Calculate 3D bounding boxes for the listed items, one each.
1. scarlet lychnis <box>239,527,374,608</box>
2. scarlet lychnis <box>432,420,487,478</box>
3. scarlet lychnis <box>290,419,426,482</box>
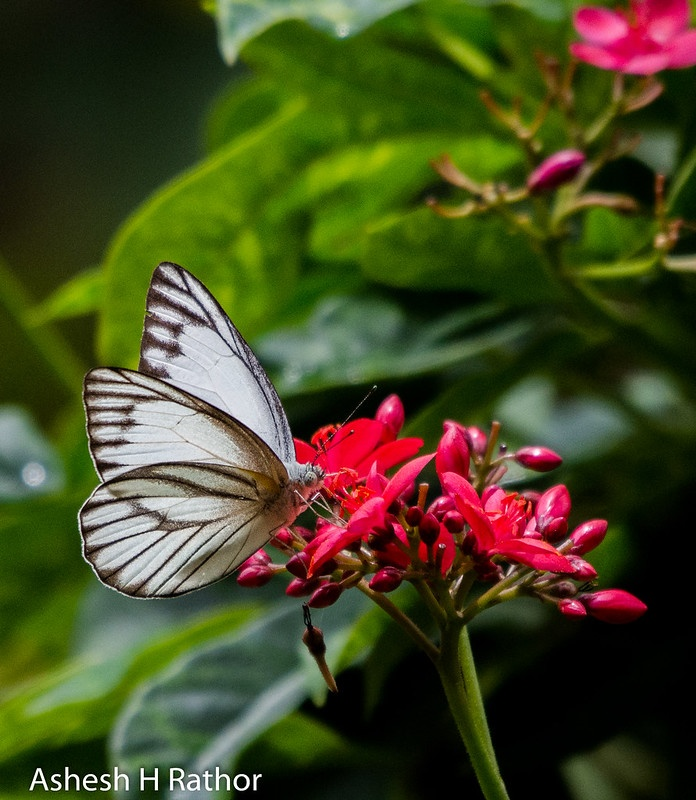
[{"bbox_3d":[-0.024,0.122,0.707,0.107,0.072,0.057,-4,-13,35],"label":"scarlet lychnis"},{"bbox_3d":[0.086,0.033,0.680,0.052,0.030,0.063,-6,10,-12],"label":"scarlet lychnis"},{"bbox_3d":[0.007,0.038,0.738,0.070,0.033,0.076,15,-1,39],"label":"scarlet lychnis"}]
